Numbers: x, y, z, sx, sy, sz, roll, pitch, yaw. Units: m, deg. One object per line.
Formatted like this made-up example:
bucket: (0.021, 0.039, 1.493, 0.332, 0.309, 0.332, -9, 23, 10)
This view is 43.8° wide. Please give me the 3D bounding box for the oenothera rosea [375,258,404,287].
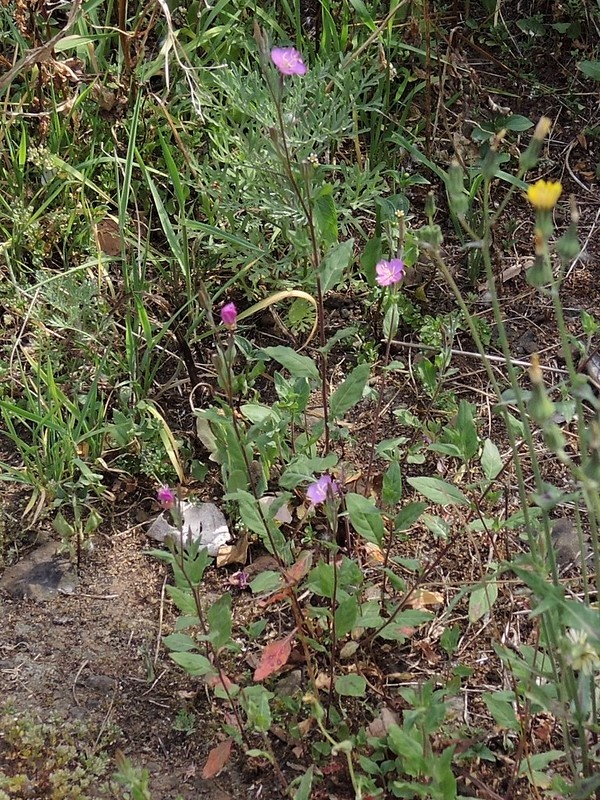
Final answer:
oenothera rosea: (0.189, -0.259, 1.538, 0.069, 0.034, 0.064, 2, 86, 25)
